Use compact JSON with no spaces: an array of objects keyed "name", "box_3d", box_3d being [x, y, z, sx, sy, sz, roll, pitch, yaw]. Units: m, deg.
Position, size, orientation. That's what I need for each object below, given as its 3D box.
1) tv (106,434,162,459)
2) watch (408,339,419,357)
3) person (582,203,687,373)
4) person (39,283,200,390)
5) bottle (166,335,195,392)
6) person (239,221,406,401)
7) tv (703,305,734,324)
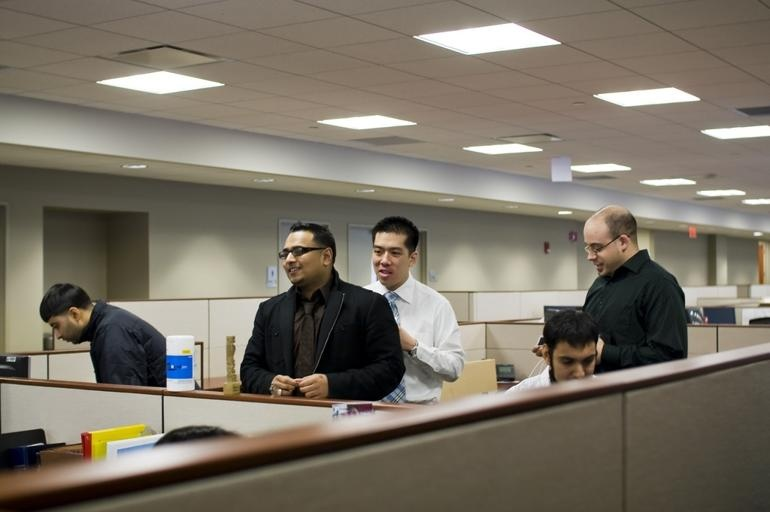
[{"name":"tv","box_3d":[-0.880,0.669,1.993,0.277,0.069,0.132,-7,-8,43]},{"name":"watch","box_3d":[0.131,0.421,2.629,0.050,0.068,0.077,20,-11,-1]},{"name":"person","box_3d":[1.119,0.137,2.642,0.457,0.782,0.370,-5,-6,29]},{"name":"person","box_3d":[-1.503,0.420,3.056,0.776,0.569,0.391,-5,-6,26]},{"name":"bottle","box_3d":[-0.850,0.441,2.367,0.101,0.219,0.171,1,-6,-22]},{"name":"person","box_3d":[-0.271,0.224,2.448,0.513,0.746,0.522,3,-7,-38]},{"name":"tv","box_3d":[4.128,0.724,7.038,0.392,0.195,0.283,4,-8,-40]}]
